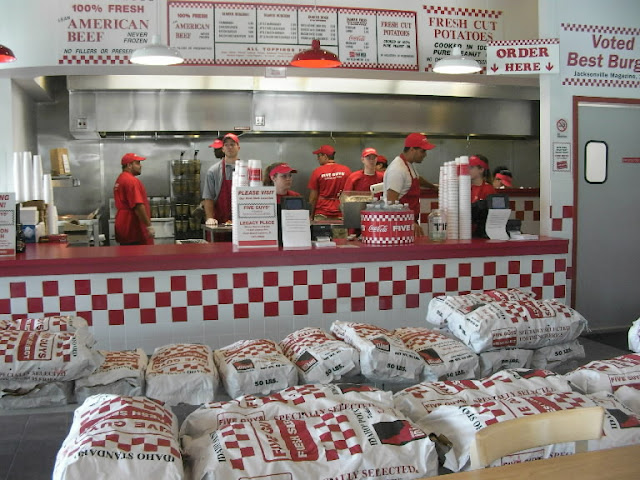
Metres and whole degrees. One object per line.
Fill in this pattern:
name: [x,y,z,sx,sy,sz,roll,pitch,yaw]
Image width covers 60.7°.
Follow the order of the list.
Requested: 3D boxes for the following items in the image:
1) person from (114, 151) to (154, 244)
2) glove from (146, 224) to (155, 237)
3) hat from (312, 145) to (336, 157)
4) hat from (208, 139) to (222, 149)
person: [-2.267,-0.486,6.563,0.425,1.101,0.648,-5,7,-20]
glove: [-2.009,-0.110,6.475,0.047,0.133,0.101,-41,-20,2]
hat: [0.008,-1.268,7.865,0.384,0.179,0.229,3,13,17]
hat: [-1.441,-1.345,7.742,0.234,0.117,0.323,1,6,11]
